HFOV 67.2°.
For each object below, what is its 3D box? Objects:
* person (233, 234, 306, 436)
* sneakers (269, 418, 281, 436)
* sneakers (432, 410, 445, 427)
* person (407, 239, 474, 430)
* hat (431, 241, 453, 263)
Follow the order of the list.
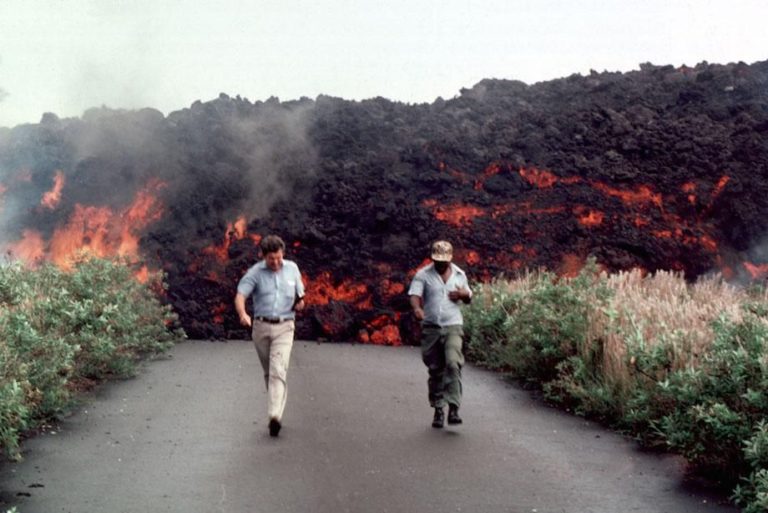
[{"bbox_3d":[-1.764,1.124,8.906,0.896,2.868,0.905,1,1,20],"label":"person"},{"bbox_3d":[-1.599,2.444,8.463,0.176,0.254,0.241,-1,1,-3],"label":"sneakers"},{"bbox_3d":[0.833,2.489,9.046,0.177,0.262,0.263,1,1,5],"label":"sneakers"},{"bbox_3d":[0.882,1.194,9.242,0.927,2.859,0.701,1,1,16],"label":"person"},{"bbox_3d":[0.945,-0.084,9.511,0.332,0.288,0.542,3,6,2],"label":"hat"}]
